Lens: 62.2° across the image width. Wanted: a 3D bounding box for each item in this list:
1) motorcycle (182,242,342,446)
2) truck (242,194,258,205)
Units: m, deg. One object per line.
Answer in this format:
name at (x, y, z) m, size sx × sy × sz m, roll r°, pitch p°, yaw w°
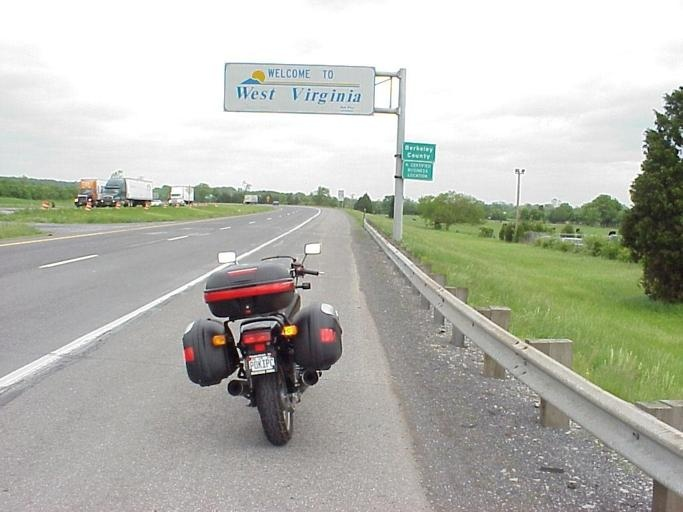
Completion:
motorcycle at (-0.797, 0.891, 5.698) m, size 1.323 × 1.734 × 1.171 m, roll -6°, pitch 11°, yaw -42°
truck at (-22.913, -14.749, 143.702) m, size 2.037 × 2.340 × 3.786 m, roll 1°, pitch 11°, yaw -7°
